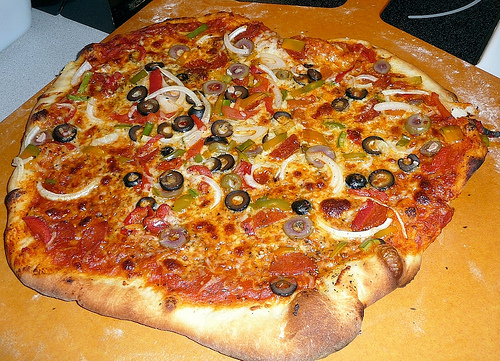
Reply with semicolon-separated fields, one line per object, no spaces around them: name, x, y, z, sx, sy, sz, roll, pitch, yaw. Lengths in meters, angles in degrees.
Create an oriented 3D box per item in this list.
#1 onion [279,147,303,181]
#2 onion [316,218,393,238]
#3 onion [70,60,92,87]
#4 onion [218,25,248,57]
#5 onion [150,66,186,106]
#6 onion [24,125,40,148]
onion;0.356;-0.170;4.725;0.120;0.101;0.390;41;61;9
onion;0.903;0.406;4.305;0.641;0.057;0.169;1;57;-1
onion;-1.801;-1.138;5.345;0.173;0.087;0.279;18;63;-6
onion;-0.175;-1.549;5.600;0.165;0.124;0.528;36;68;24
onion;-0.804;-1.016;5.183;0.150;0.058;0.540;-40;56;-15
onion;-2.139;-0.436;4.948;0.062;0.075;0.244;33;51;-13
